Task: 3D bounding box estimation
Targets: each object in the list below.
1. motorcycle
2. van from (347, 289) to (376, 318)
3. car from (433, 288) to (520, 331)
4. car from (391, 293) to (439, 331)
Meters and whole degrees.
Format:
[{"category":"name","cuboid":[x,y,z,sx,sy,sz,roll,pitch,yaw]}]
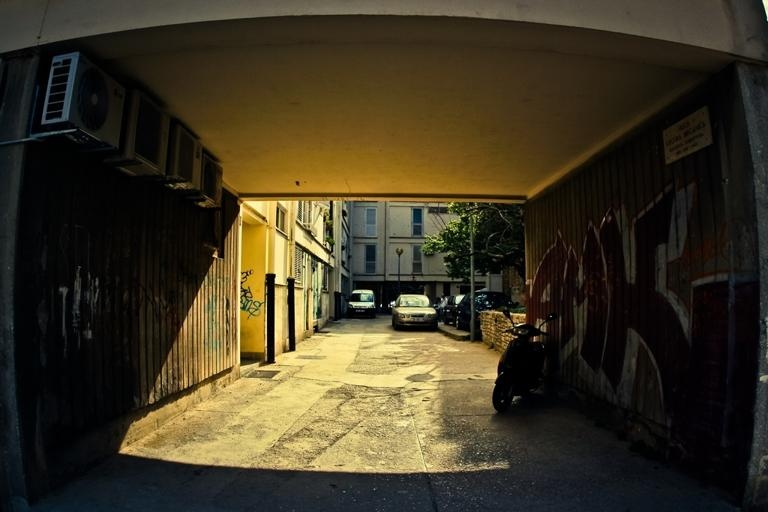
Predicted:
[{"category":"motorcycle","cuboid":[2.093,1.492,8.455,0.637,1.291,1.751,9,10,36]},{"category":"van","cuboid":[-1.176,2.587,29.154,1.327,1.380,2.110,-1,3,-6]},{"category":"car","cuboid":[3.074,1.937,20.375,1.223,1.030,2.868,1,-9,-11]},{"category":"car","cuboid":[1.164,2.191,22.007,1.361,1.158,3.222,0,-10,0]}]
